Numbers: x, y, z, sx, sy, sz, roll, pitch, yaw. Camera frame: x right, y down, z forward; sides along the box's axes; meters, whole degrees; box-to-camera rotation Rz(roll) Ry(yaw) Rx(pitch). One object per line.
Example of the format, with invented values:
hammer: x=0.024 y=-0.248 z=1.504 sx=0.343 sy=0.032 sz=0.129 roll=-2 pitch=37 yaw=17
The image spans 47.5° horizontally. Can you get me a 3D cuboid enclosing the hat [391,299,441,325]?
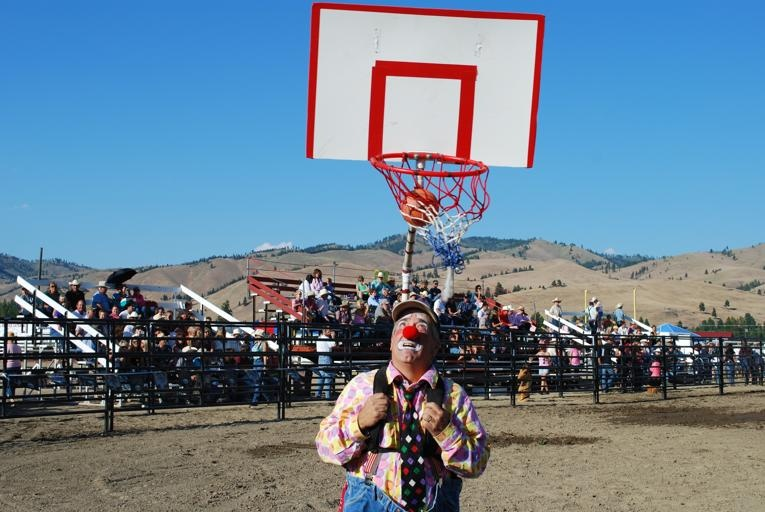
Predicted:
hat: x=0.414 y=0.734 z=11.952 sx=0.374 sy=0.452 sz=0.253 roll=1 pitch=33 yaw=17

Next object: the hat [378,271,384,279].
hat: x=-0.066 y=0.718 z=31.531 sx=0.155 sy=0.185 sz=0.212 roll=2 pitch=-14 yaw=0
